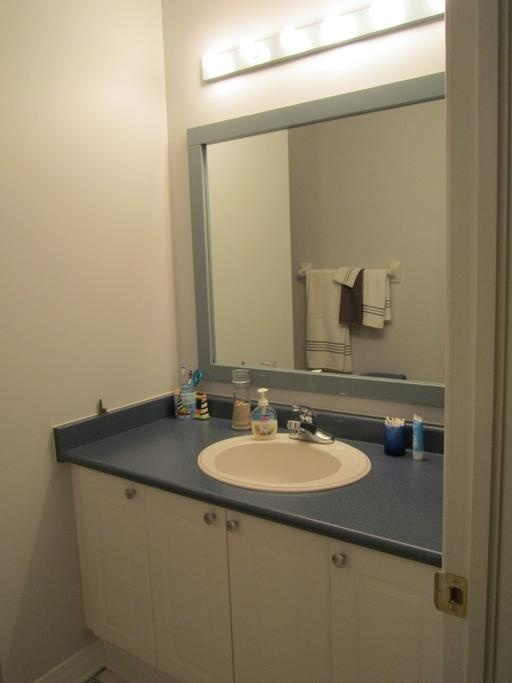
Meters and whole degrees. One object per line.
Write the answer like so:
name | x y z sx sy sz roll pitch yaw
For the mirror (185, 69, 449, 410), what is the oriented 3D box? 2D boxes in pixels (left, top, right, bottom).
mirror | 0.204 -0.329 1.726 0.894 1.027 0.035 10 13 44

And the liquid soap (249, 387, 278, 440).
liquid soap | 0.019 0.215 1.743 0.076 0.141 0.137 -6 8 -13

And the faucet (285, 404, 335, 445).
faucet | 0.157 0.255 1.721 0.169 0.137 0.062 1 3 44

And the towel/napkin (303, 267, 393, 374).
towel/napkin | 0.290 -0.068 1.723 0.259 0.343 0.078 3 4 32

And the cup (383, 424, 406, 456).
cup | 0.377 0.267 1.574 0.073 0.089 0.059 2 10 39

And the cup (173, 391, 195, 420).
cup | -0.254 0.225 2.044 0.074 0.099 0.079 0 4 0

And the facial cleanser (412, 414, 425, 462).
facial cleanser | 0.435 0.255 1.529 0.027 0.123 0.060 -1 8 18

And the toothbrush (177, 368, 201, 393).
toothbrush | -0.244 0.140 2.089 0.061 0.094 0.083 -5 8 -22
